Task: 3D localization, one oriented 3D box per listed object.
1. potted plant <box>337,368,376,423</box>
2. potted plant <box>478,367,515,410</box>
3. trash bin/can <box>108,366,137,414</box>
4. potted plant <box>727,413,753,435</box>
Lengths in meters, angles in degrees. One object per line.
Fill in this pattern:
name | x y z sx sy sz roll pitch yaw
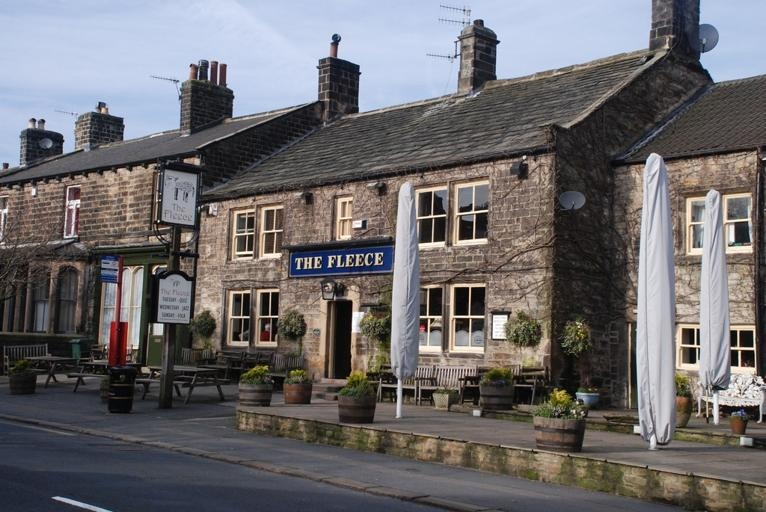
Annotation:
potted plant | -0.597 3.233 22.743 0.820 1.149 0.770 2 -7 -3
potted plant | 2.997 3.490 26.120 0.894 1.081 0.857 2 -7 4
trash bin/can | -6.673 3.394 25.345 0.618 1.213 0.433 4 -7 -17
potted plant | 8.101 3.799 22.451 0.417 0.323 0.435 1 -10 0
